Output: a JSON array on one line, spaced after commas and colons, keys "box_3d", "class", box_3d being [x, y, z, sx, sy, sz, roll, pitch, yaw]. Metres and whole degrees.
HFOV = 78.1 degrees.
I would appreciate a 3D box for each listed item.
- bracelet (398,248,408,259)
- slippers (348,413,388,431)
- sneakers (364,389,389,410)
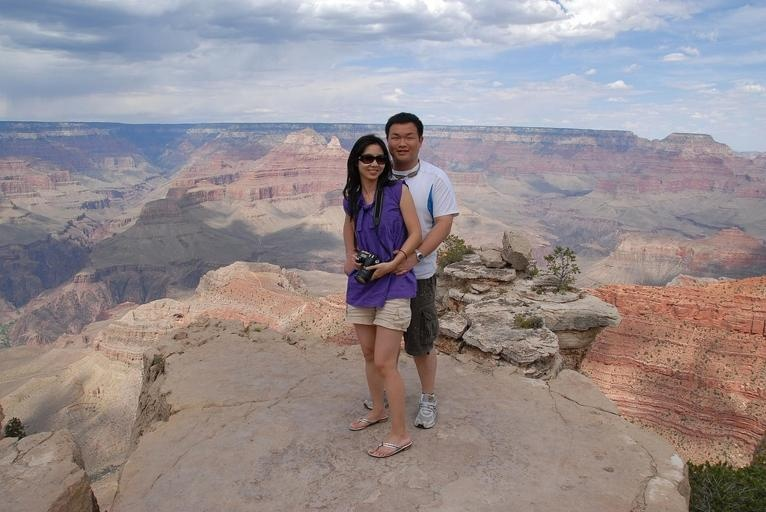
[{"box_3d": [0.277, -0.047, 6.601, 0.030, 0.102, 0.113, -1, 20, -24], "class": "bracelet"}, {"box_3d": [-0.230, 2.564, 7.371, 0.588, 0.127, 0.216, -4, -2, -12], "class": "slippers"}, {"box_3d": [-0.174, 2.341, 7.690, 0.631, 0.242, 0.273, 10, -14, -36], "class": "sneakers"}]
